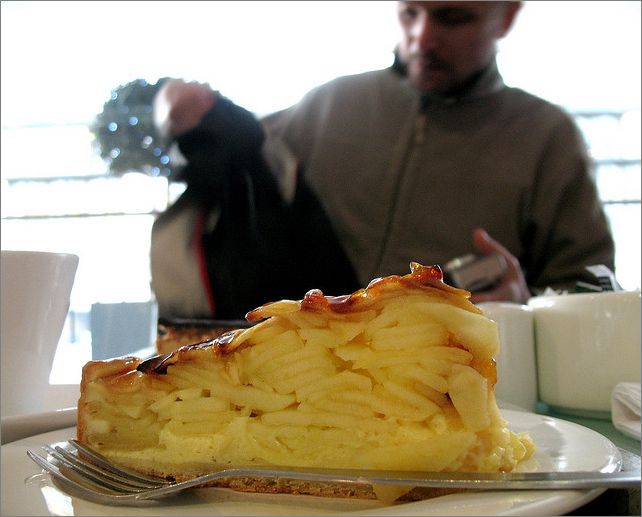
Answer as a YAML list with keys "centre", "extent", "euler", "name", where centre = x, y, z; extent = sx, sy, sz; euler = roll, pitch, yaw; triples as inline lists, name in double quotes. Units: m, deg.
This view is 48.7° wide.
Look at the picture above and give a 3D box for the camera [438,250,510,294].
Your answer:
- centre: [0.394, 0.044, 1.869]
  extent: [0.188, 0.134, 0.091]
  euler: [-11, -9, 12]
  name: "camera"
